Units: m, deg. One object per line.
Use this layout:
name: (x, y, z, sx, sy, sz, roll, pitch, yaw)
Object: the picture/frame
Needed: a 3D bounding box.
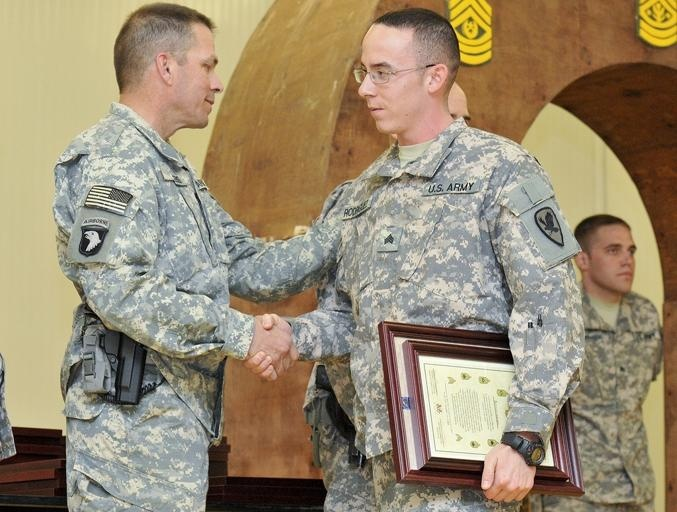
picture/frame: (0.538, 0.581, 4.869, 0.668, 0.676, 0.068, 5, -28, -13)
